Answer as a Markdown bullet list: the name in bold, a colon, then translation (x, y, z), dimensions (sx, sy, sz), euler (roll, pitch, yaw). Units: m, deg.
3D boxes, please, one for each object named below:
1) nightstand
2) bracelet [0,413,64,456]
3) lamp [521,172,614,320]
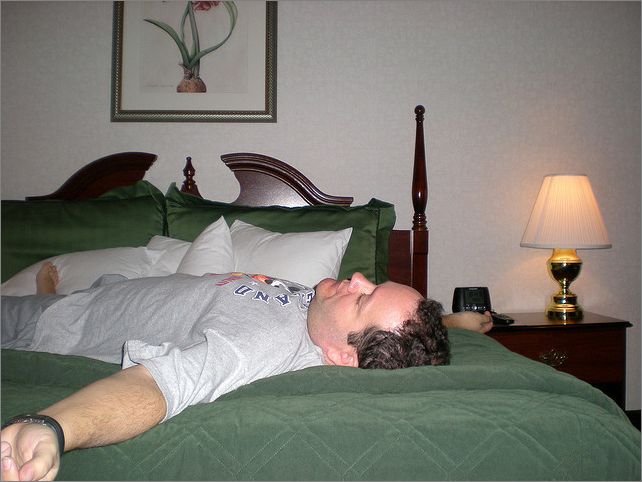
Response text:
- **nightstand**: translation (1.196, 0.479, 2.884), dimensions (0.702, 0.694, 0.437), euler (0, 2, -2)
- **bracelet**: translation (-0.697, 0.464, 1.306), dimensions (0.113, 0.032, 0.110), euler (-5, -41, 12)
- **lamp**: translation (1.330, 0.030, 2.958), dimensions (0.433, 0.779, 0.445), euler (1, 5, 29)
